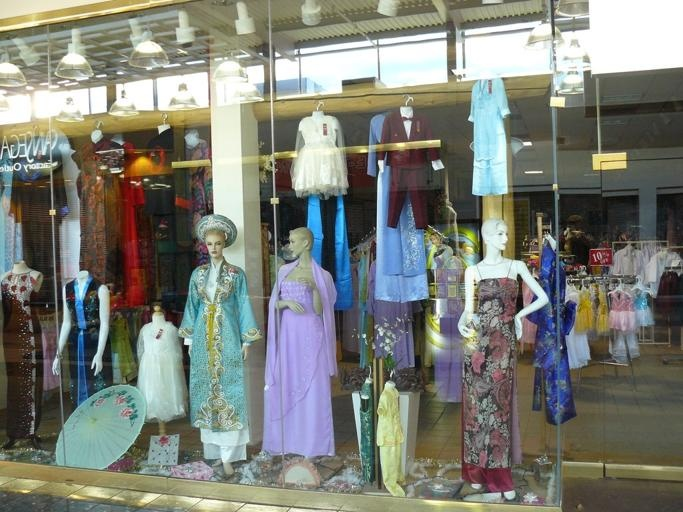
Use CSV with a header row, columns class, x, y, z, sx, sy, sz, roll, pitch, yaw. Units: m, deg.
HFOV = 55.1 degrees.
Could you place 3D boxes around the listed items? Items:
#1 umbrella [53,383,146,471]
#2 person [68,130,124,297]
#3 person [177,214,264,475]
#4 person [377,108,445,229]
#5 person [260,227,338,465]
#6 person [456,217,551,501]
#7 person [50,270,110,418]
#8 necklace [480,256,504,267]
class,x,y,z,sx,sy,sz,roll,pitch,yaw
umbrella,-1.886,1.323,5.112,0.806,0.617,0.217,1,8,23
person,-1.934,-0.342,5.189,0.455,1.198,0.179,1,7,24
person,-0.899,0.659,4.847,0.572,1.897,0.264,-4,7,-10
person,0.489,-0.615,4.608,0.440,0.831,0.165,-2,7,2
person,-0.306,0.622,4.748,0.558,1.631,0.220,0,7,17
person,1.064,0.697,4.394,0.532,1.849,0.222,-1,7,11
person,-2.084,0.757,5.273,0.384,1.353,0.328,4,28,-13
necklace,1.013,0.034,4.394,0.118,0.065,0.038,-5,-6,13
